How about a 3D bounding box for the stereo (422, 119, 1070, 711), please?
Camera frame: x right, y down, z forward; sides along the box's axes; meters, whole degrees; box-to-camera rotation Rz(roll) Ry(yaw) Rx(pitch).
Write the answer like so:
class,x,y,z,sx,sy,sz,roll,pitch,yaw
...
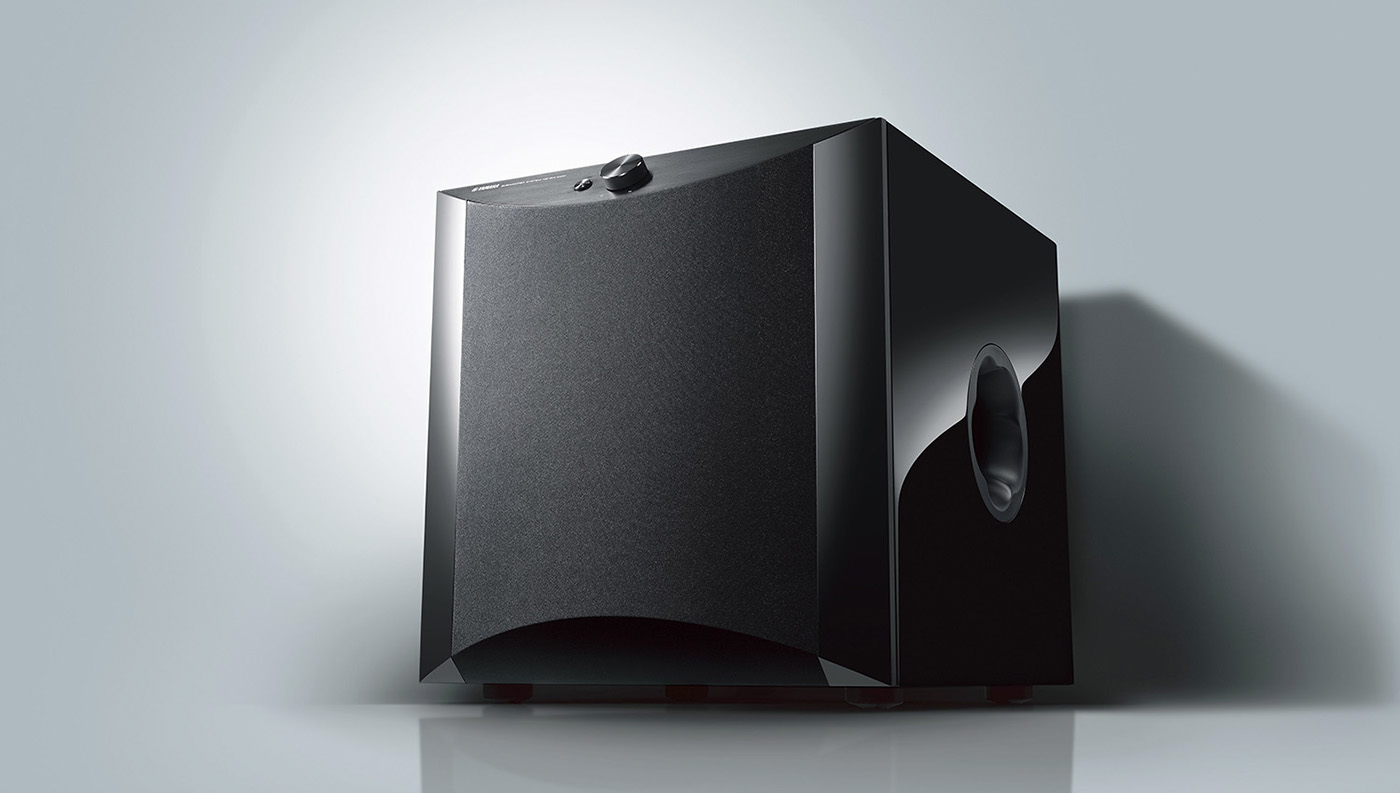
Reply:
class,x,y,z,sx,sy,sz,roll,pitch,yaw
stereo,0.073,0.083,1.989,0.888,0.829,0.913,-7,-15,31
